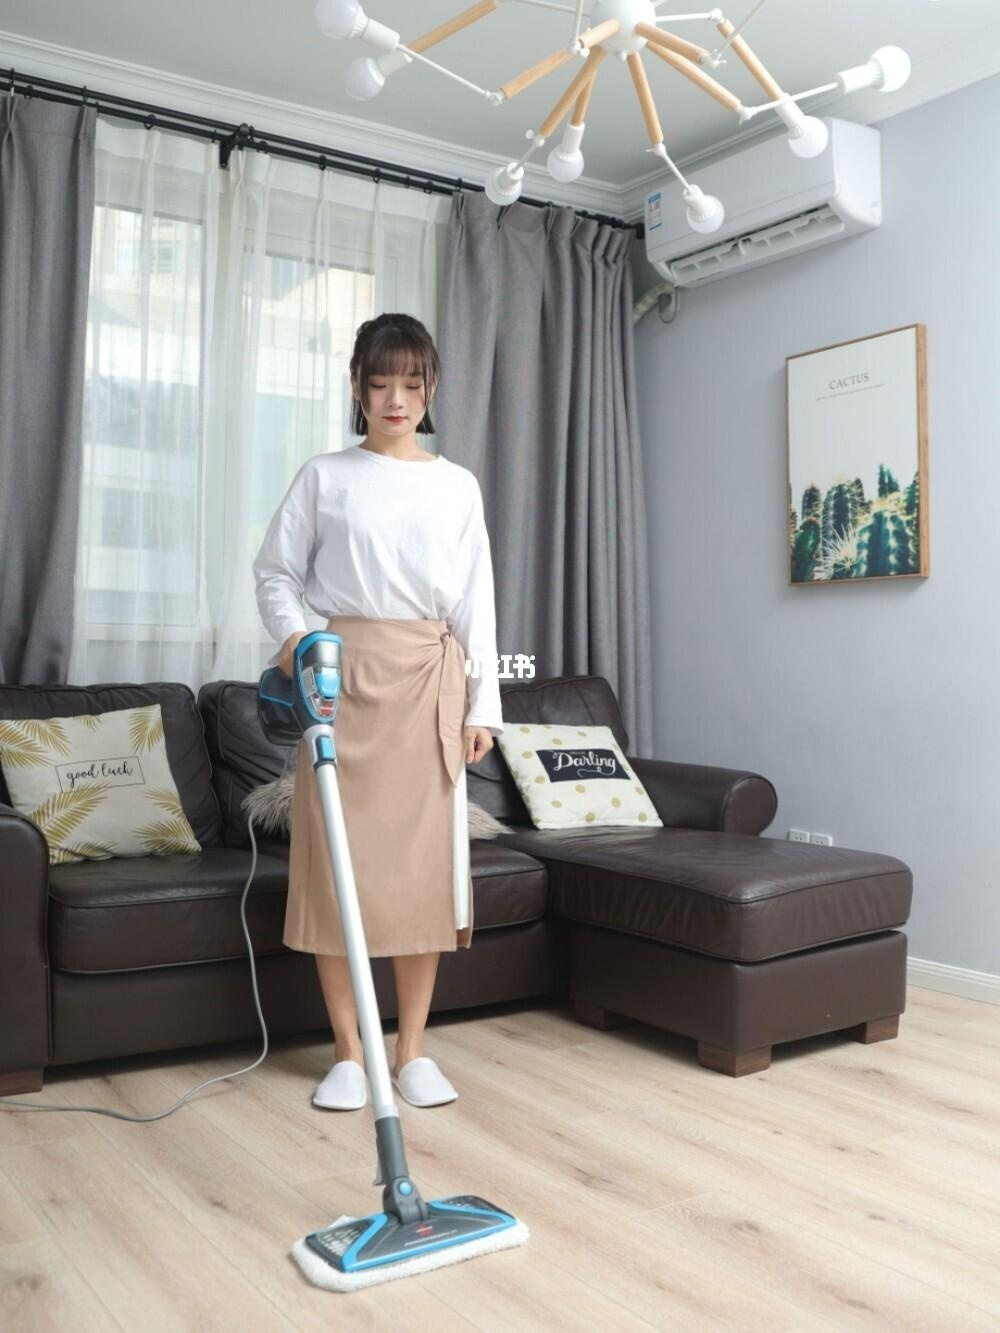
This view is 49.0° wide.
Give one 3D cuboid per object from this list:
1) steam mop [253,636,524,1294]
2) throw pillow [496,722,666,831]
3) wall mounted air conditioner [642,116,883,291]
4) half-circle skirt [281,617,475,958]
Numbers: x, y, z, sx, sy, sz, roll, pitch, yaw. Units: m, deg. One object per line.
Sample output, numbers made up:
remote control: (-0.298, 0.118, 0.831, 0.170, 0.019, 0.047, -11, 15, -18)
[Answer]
steam mop: (-0.196, 0.346, 1.469, 0.425, 0.789, 0.269, -3, -5, 42)
throw pillow: (0.211, 0.254, 3.065, 0.447, 0.353, 0.326, 1, -1, -21)
wall mounted air conditioner: (0.788, -1.413, 3.401, 0.257, 0.363, 0.799, 3, -5, -32)
half-circle skirt: (-0.233, 0.216, 2.087, 0.291, 0.642, 0.276, 1, 4, -18)
